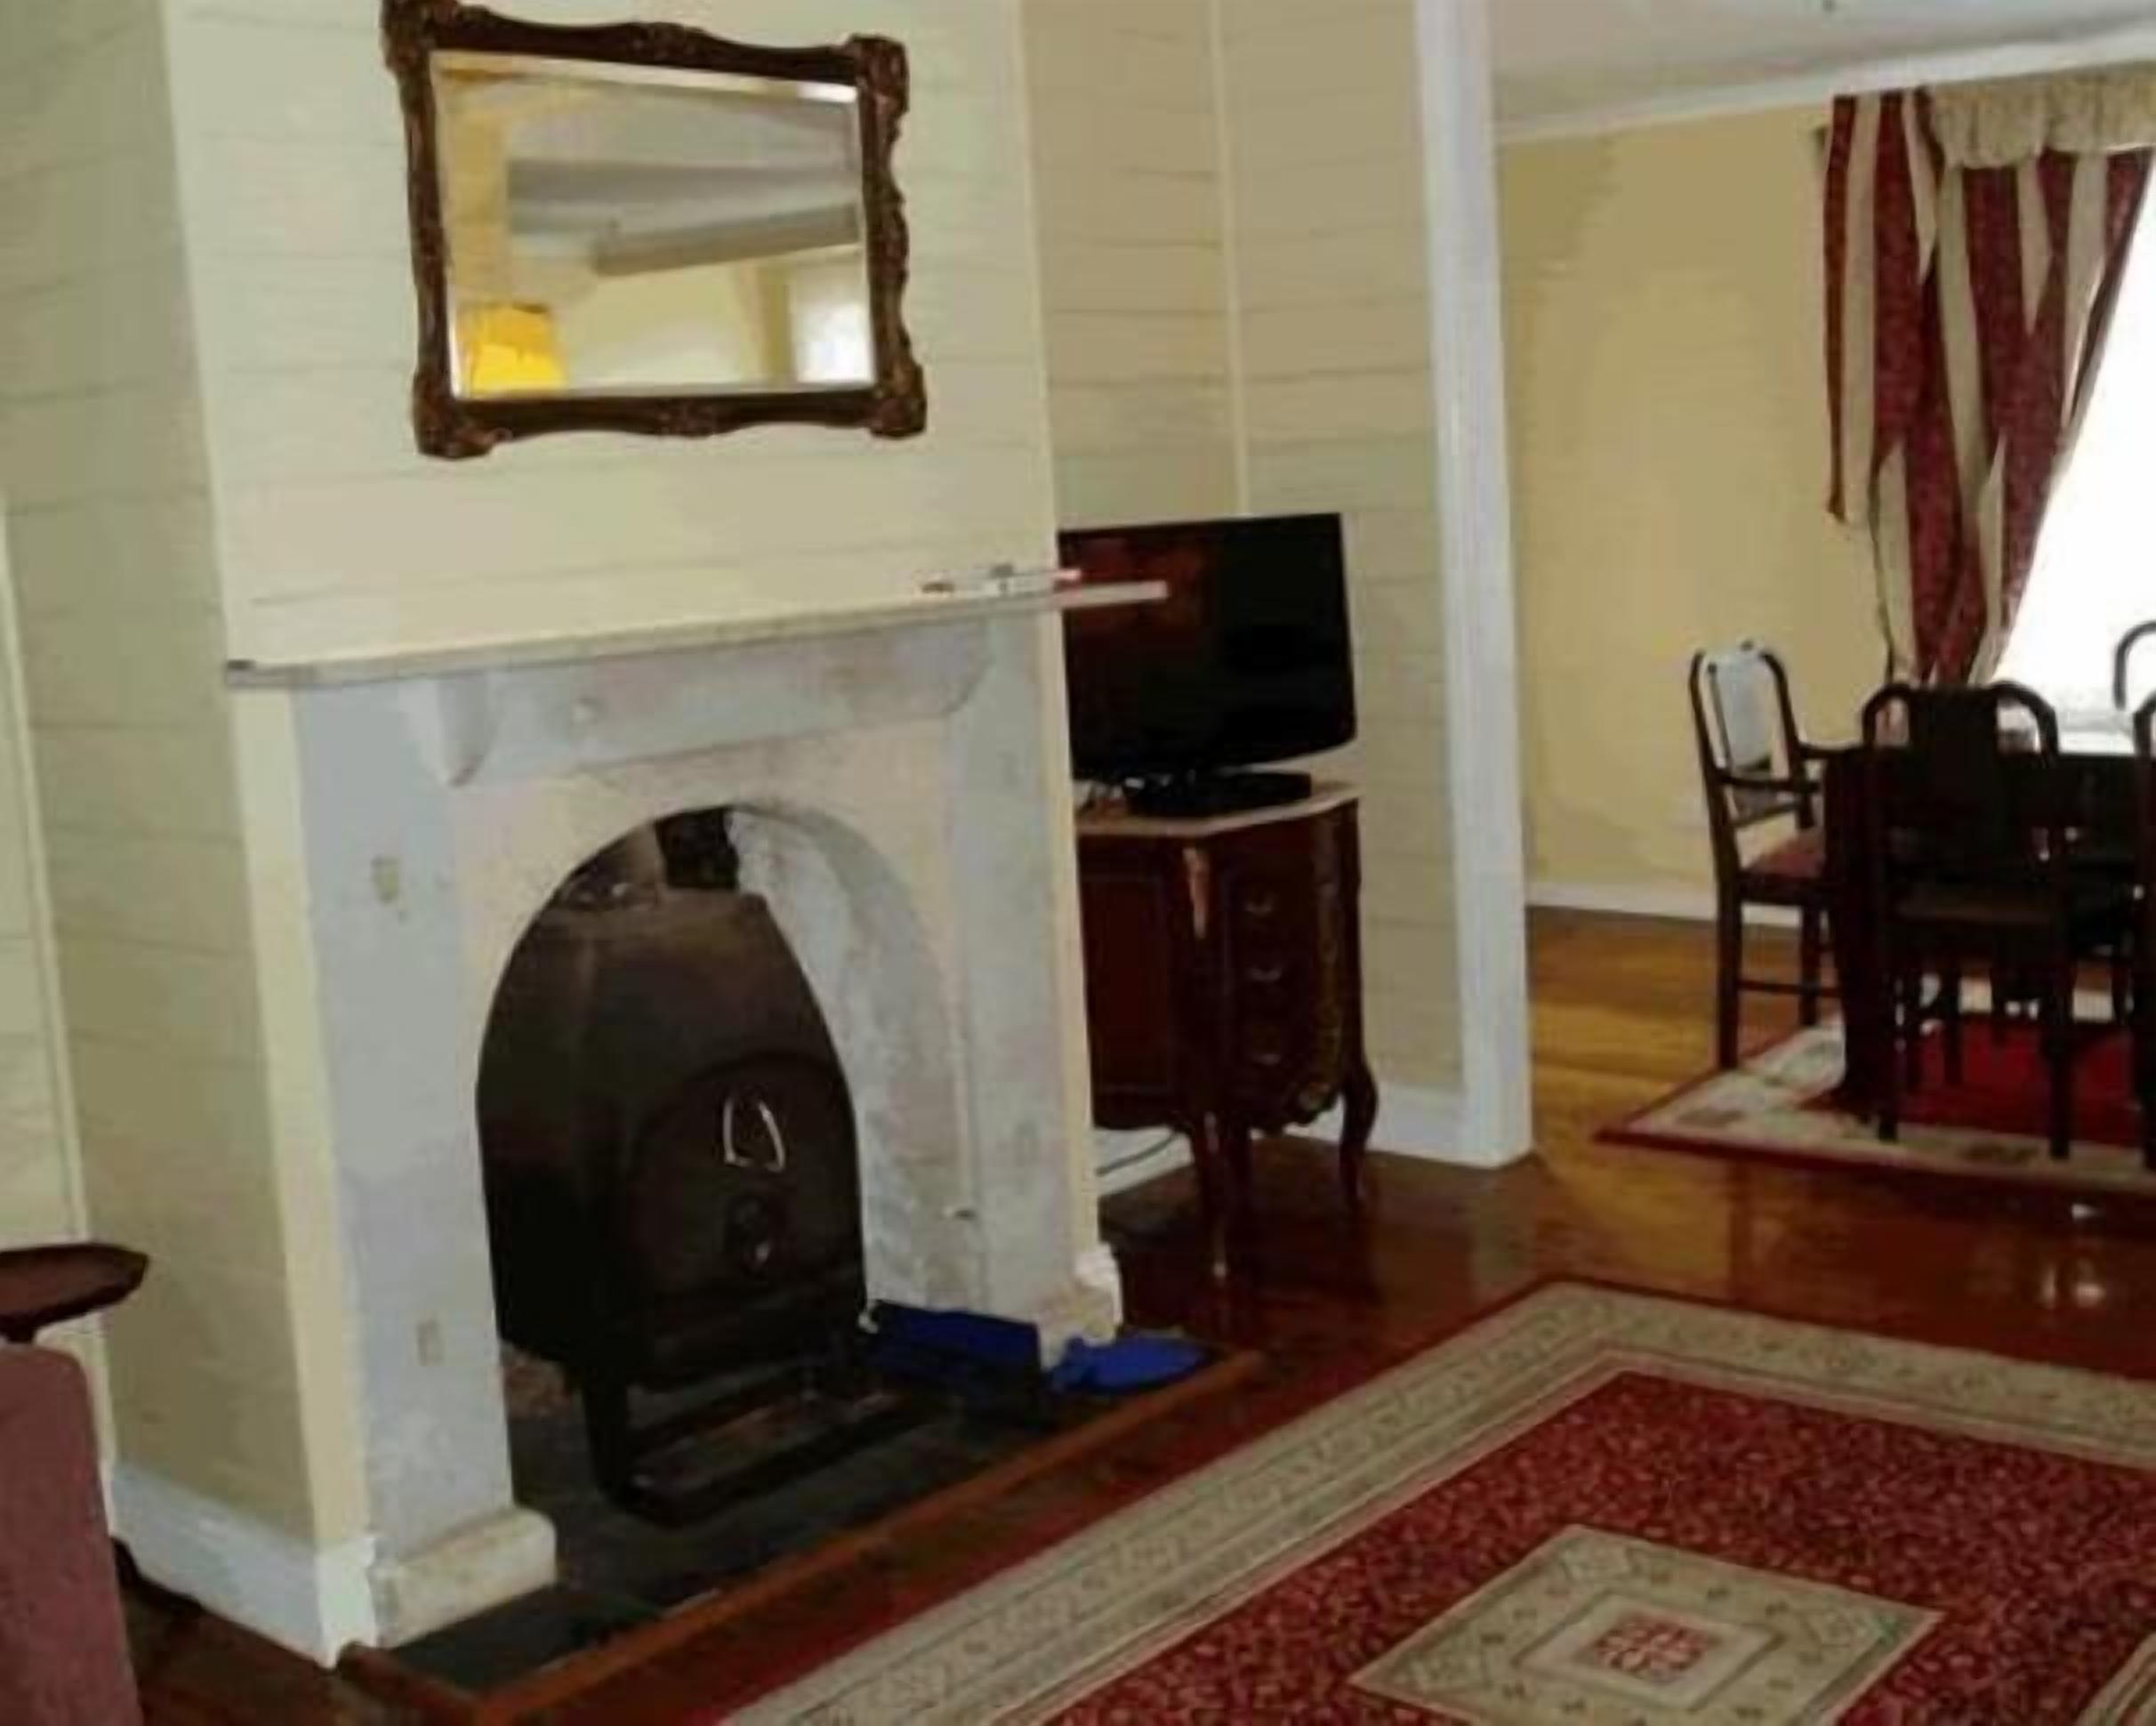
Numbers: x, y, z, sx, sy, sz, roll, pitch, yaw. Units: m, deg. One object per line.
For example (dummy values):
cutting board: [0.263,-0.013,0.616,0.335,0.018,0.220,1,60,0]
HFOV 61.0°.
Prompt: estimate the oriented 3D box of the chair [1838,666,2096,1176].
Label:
chair: [2.377,0.093,4.811,0.637,1.097,0.531,-1,1,40]

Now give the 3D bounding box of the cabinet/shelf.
cabinet/shelf: [0.362,0.383,4.488,0.443,1.072,0.694,5,14,42]

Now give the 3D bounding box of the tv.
tv: [0.327,-0.505,4.497,0.266,0.665,1.039,-4,6,-39]
